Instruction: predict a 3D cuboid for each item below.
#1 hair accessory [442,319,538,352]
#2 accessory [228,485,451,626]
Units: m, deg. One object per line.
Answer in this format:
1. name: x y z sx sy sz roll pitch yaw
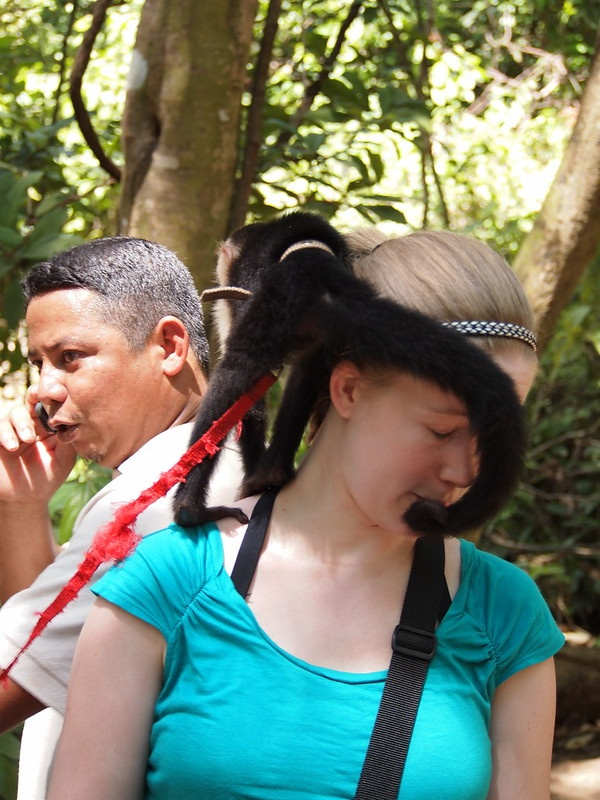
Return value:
1. hair accessory: 0.294 -0.110 1.307 0.165 0.047 0.080 -8 9 -5
2. accessory: 0.067 0.258 1.356 0.286 0.140 0.444 -11 13 -31
